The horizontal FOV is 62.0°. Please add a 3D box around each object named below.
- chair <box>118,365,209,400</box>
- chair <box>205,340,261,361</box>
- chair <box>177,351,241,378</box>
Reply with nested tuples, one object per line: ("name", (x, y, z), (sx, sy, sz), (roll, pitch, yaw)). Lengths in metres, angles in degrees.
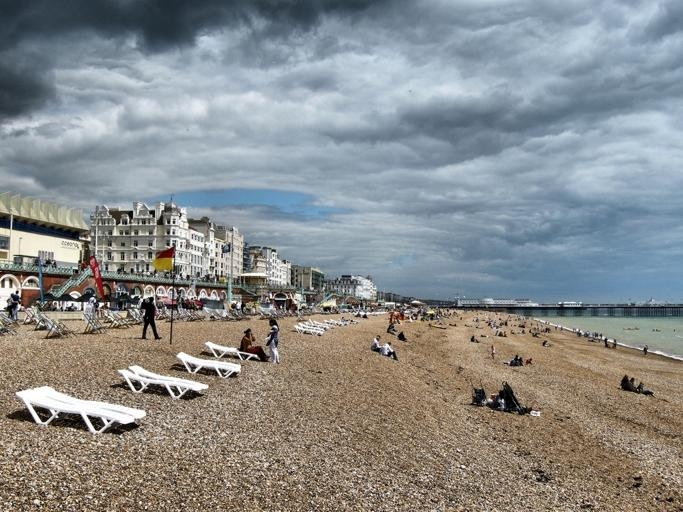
("chair", (-5.830, 4.092, 18.399), (2.904, 0.640, 1.431), (8, 2, 8))
("chair", (-4.828, 4.196, 24.450), (1.977, 0.540, 1.037), (2, 0, 0))
("chair", (-5.040, 4.156, 21.069), (2.169, 0.609, 1.098), (3, 0, 1))
